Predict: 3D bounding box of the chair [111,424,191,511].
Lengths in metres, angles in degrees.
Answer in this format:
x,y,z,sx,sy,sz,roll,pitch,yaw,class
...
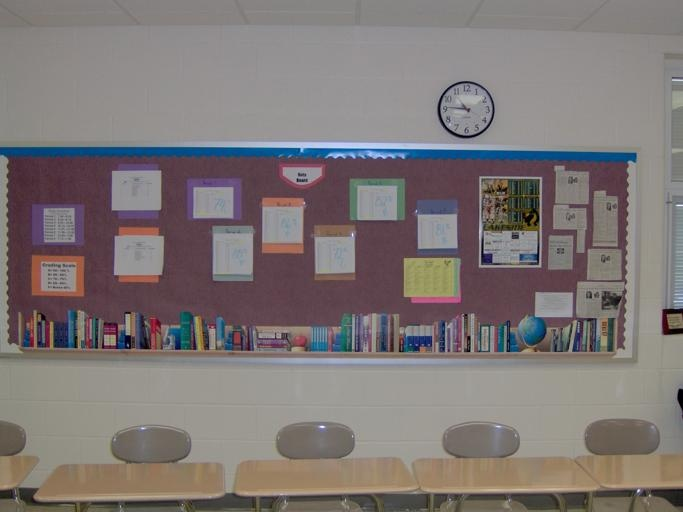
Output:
x,y,z,sx,sy,sz,roll,pitch,yaw,class
-1.426,1.648,8.594,0.596,0.877,0.604,1,-15,-5,chair

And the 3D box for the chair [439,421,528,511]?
x,y,z,sx,sy,sz,roll,pitch,yaw,class
1.022,1.599,8.598,0.583,0.963,0.648,-1,-9,4,chair

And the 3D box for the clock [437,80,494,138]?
x,y,z,sx,sy,sz,roll,pitch,yaw,class
0.969,-1.166,8.925,0.412,0.449,0.045,0,2,0,clock

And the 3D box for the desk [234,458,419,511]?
x,y,z,sx,sy,sz,roll,pitch,yaw,class
-0.121,1.559,7.992,1.302,0.265,0.311,-1,-14,-2,desk

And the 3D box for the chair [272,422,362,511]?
x,y,z,sx,sy,sz,roll,pitch,yaw,class
-0.190,1.590,8.495,0.614,0.948,0.638,0,-10,0,chair

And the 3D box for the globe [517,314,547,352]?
x,y,z,sx,sy,sz,roll,pitch,yaw,class
1.542,0.614,9.068,0.242,0.309,0.266,0,6,42,globe
